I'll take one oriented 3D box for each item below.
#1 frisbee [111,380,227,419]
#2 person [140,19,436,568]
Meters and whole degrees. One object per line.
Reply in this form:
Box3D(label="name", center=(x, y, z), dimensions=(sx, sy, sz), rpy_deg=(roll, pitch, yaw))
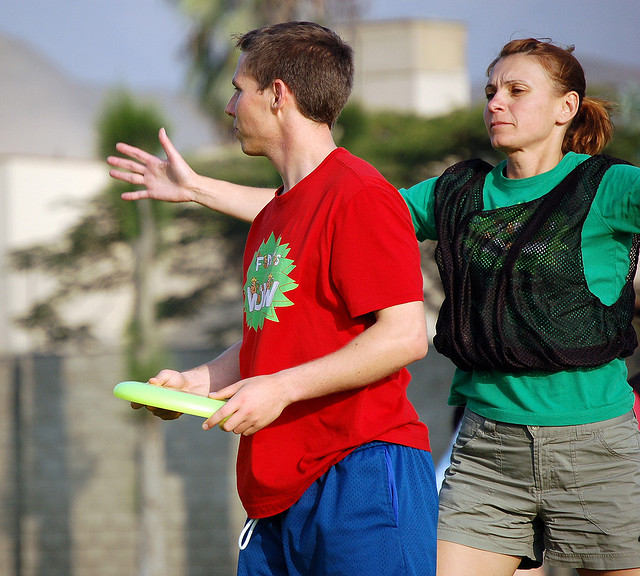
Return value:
Box3D(label="frisbee", center=(-0.696, 0.531, 7.270), dimensions=(0.371, 0.067, 0.240), rpy_deg=(13, -1, 5))
Box3D(label="person", center=(-0.049, 0.047, 7.449), dimensions=(1.099, 2.274, 0.740), rpy_deg=(-8, 3, 2))
